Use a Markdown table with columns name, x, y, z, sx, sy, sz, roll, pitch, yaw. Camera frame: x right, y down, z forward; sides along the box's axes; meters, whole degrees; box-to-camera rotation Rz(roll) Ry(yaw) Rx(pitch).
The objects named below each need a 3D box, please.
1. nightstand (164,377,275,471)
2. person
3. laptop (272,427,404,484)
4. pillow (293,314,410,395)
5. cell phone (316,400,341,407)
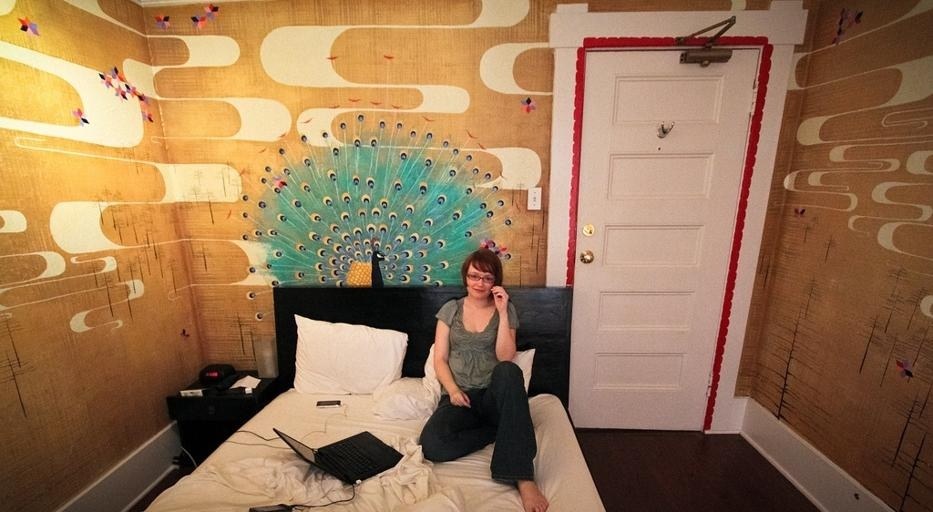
| name | x | y | z | sx | sy | sz | roll | pitch | yaw |
| --- | --- | --- | --- | --- | --- | --- | --- | --- | --- |
| nightstand | -1.980 | 1.308 | 4.625 | 0.980 | 0.784 | 0.702 | 0 | 8 | 1 |
| person | 0.096 | 0.863 | 3.936 | 0.811 | 1.725 | 0.896 | 1 | 10 | -7 |
| laptop | -0.928 | 1.338 | 3.757 | 0.555 | 0.319 | 0.541 | -27 | 26 | -28 |
| pillow | -1.020 | 0.910 | 4.533 | 1.049 | 0.573 | 0.309 | 14 | -8 | -41 |
| cell phone | -1.115 | 1.198 | 4.274 | 0.213 | 0.019 | 0.115 | 0 | 6 | -15 |
